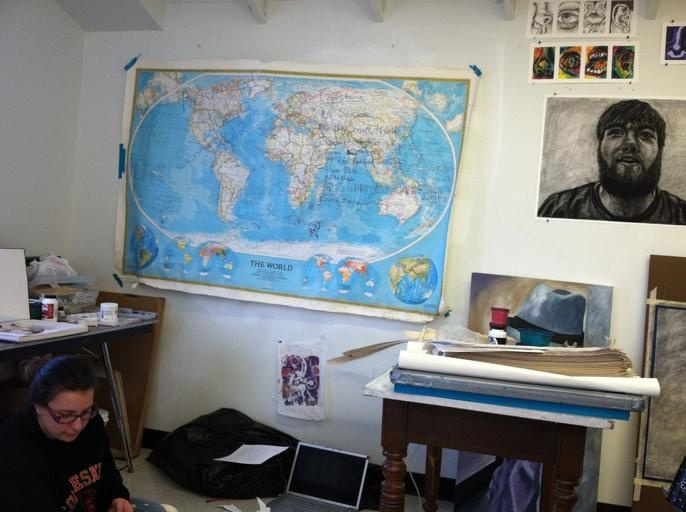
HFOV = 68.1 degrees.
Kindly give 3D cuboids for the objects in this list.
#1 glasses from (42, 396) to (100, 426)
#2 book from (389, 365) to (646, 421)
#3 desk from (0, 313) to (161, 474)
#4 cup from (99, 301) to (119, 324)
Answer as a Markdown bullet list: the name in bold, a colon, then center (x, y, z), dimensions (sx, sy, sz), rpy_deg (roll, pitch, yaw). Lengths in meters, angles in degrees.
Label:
- **glasses**: center (-1.130, 0.645, 2.085), dimensions (0.170, 0.087, 0.051), rpy_deg (-1, 3, -33)
- **book**: center (0.630, 0.519, 1.920), dimensions (0.901, 0.141, 0.051), rpy_deg (2, 3, 10)
- **desk**: center (-1.853, 0.923, 3.318), dimensions (0.925, 0.915, 0.930), rpy_deg (0, 5, 30)
- **cup**: center (-1.527, 0.367, 3.344), dimensions (0.126, 0.140, 0.126), rpy_deg (1, -1, 0)
